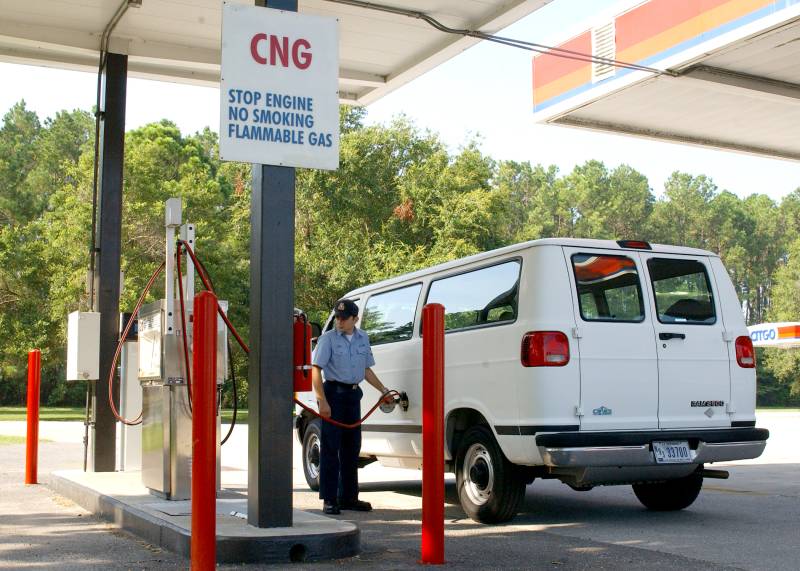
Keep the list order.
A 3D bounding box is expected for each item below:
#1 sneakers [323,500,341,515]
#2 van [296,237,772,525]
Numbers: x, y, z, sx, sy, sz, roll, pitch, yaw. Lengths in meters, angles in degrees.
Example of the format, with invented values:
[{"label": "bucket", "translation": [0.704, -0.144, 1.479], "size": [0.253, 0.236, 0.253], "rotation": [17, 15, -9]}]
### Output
[{"label": "sneakers", "translation": [-0.822, 2.603, 10.223], "size": [0.098, 0.124, 0.257], "rotation": [2, -1, -19]}, {"label": "van", "translation": [1.331, 1.102, 11.571], "size": [2.901, 2.665, 5.564], "rotation": [7, -8, -29]}]
